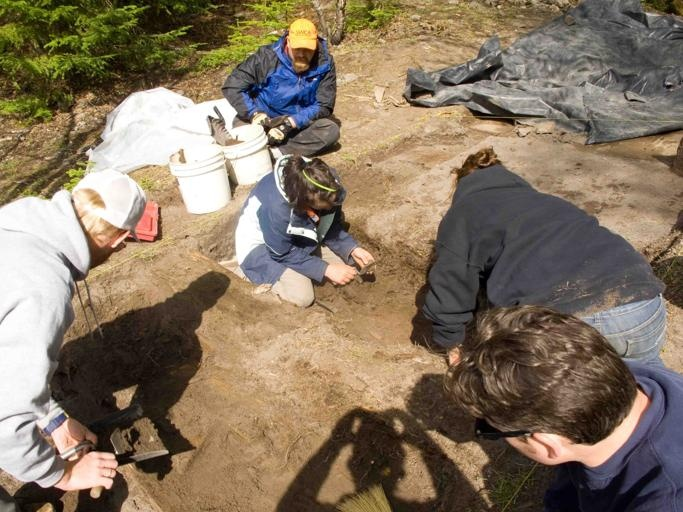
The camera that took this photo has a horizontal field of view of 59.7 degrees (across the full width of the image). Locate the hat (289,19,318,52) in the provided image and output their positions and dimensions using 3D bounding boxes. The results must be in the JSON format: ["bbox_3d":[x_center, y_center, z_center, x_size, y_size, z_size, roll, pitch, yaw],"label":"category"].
[{"bbox_3d":[-0.416,-2.325,6.204,0.304,0.180,0.337,0,47,-10],"label":"hat"}]

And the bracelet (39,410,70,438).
[{"bbox_3d":[-1.875,1.099,3.898,0.187,0.067,0.133,-31,26,-21],"label":"bracelet"}]

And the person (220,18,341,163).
[{"bbox_3d":[-0.627,-1.884,6.600,1.475,1.305,0.872,5,47,-4],"label":"person"}]

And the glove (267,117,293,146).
[{"bbox_3d":[-0.697,-1.378,6.616,0.312,0.158,0.310,12,63,-8],"label":"glove"}]

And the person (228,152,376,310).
[{"bbox_3d":[-0.440,-0.213,5.173,1.114,1.445,0.855,-21,52,-7],"label":"person"}]

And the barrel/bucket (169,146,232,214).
[{"bbox_3d":[-1.502,-0.775,6.086,0.620,0.502,0.624,-6,22,2],"label":"barrel/bucket"}]

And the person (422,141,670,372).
[{"bbox_3d":[1.198,0.056,4.062,1.389,0.671,1.495,-26,33,-6],"label":"person"}]
